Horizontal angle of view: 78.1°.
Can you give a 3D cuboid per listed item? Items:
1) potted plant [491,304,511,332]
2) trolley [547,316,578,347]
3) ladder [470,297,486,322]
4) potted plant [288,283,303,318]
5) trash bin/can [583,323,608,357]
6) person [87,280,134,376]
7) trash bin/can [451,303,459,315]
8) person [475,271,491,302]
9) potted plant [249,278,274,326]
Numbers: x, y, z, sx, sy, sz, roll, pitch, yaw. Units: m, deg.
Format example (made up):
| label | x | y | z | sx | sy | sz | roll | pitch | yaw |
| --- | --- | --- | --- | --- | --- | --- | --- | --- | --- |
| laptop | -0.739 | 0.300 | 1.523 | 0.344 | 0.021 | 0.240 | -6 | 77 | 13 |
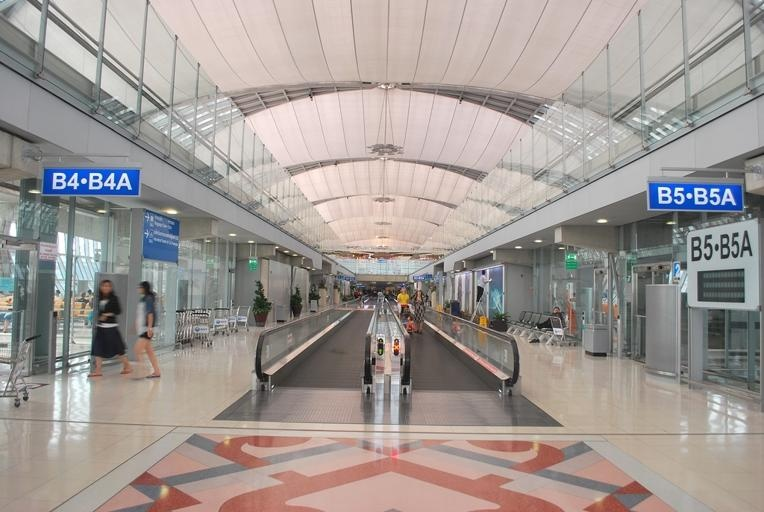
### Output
| label | x | y | z | sx | sy | sz | roll | pitch | yaw |
| --- | --- | --- | --- | --- | --- | --- | --- | --- | --- |
| potted plant | 5.531 | 2.991 | 21.661 | 0.965 | 1.148 | 0.818 | 0 | -3 | -2 |
| trolley | 7.040 | 2.802 | 18.123 | 0.987 | 0.783 | 2.639 | 2 | 1 | 22 |
| ladder | 5.973 | 3.136 | 28.439 | 0.719 | 1.516 | 2.015 | 1 | 1 | 9 |
| potted plant | -5.517 | 2.927 | 29.912 | 0.716 | 2.043 | 2.736 | 1 | 1 | -11 |
| trash bin/can | 6.805 | 2.650 | 14.790 | 0.753 | 0.772 | 0.494 | 2 | 1 | 30 |
| person | -6.391 | 1.656 | 10.964 | 0.798 | 2.259 | 1.537 | 1 | 1 | -31 |
| trash bin/can | 5.087 | 3.582 | 32.231 | 0.508 | 0.883 | 0.941 | 1 | 1 | 1 |
| person | 6.130 | 1.815 | 27.992 | 0.671 | 0.763 | 1.978 | -5 | -15 | -2 |
| potted plant | -5.797 | 2.265 | 22.281 | 0.767 | 2.067 | 1.334 | 1 | 1 | -14 |
